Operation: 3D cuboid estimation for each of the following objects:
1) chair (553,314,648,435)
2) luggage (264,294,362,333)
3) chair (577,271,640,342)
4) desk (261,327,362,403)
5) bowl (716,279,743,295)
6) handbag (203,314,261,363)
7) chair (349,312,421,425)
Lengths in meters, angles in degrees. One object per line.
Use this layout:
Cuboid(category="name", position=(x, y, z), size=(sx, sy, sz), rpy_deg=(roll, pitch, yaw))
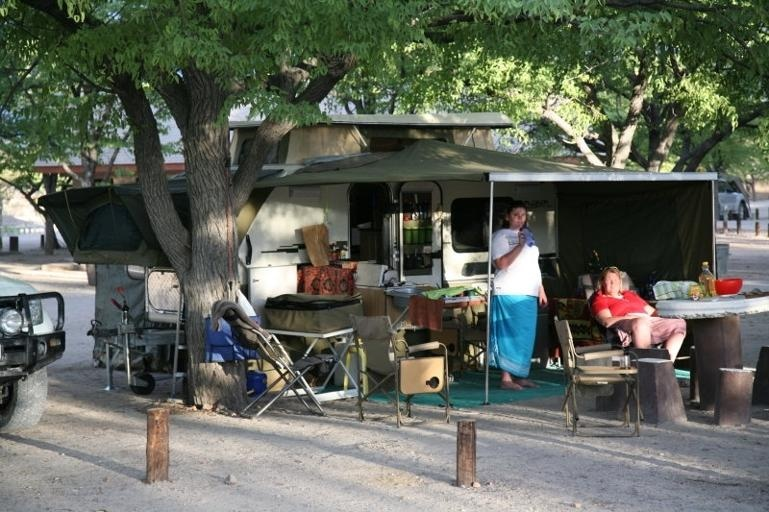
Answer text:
Cuboid(category="chair", position=(2.639, 1.469, 11.321), size=(0.938, 1.399, 0.822), rpy_deg=(0, -1, 5))
Cuboid(category="luggage", position=(-1.059, 0.807, 13.311), size=(1.023, 0.419, 1.129), rpy_deg=(1, 3, 27))
Cuboid(category="chair", position=(3.266, 0.787, 12.529), size=(0.746, 1.102, 0.902), rpy_deg=(-2, -12, -28))
Cuboid(category="desk", position=(-0.743, 1.475, 12.878), size=(1.114, 0.986, 1.117), rpy_deg=(-2, -5, 25))
Cuboid(category="bowl", position=(4.595, 0.408, 12.165), size=(0.270, 0.184, 0.274), rpy_deg=(-8, -4, -1))
Cuboid(category="handbag", position=(-2.050, 1.107, 11.982), size=(0.615, 0.605, 0.202), rpy_deg=(-2, 10, -11))
Cuboid(category="chair", position=(0.098, 1.365, 12.050), size=(0.991, 1.813, 1.180), rpy_deg=(-1, -1, 29))
